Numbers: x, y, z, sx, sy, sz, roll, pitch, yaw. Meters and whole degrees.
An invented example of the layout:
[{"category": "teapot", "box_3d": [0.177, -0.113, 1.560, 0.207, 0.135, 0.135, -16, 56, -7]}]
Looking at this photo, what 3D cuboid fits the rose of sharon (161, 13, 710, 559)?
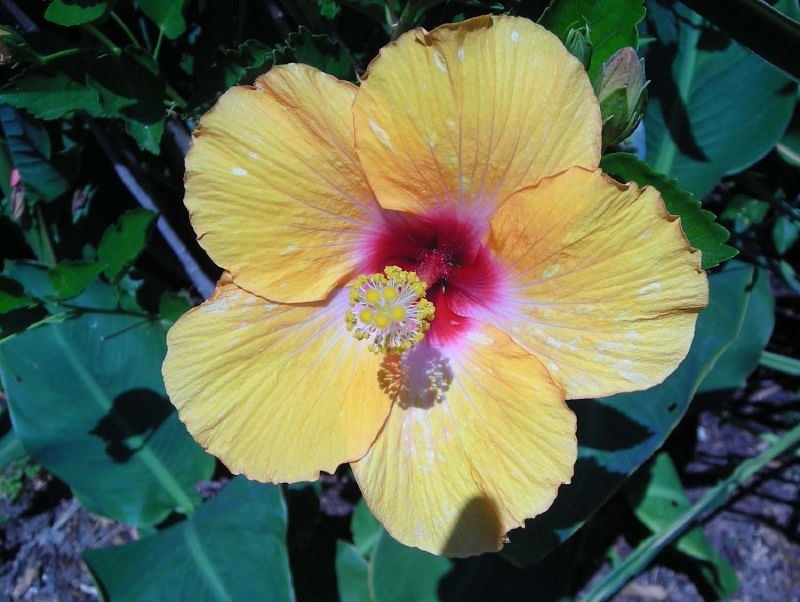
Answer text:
[{"category": "rose of sharon", "box_3d": [0.138, -0.030, 2.322, 1.398, 0.628, 1.720, 2, -64, 1]}]
